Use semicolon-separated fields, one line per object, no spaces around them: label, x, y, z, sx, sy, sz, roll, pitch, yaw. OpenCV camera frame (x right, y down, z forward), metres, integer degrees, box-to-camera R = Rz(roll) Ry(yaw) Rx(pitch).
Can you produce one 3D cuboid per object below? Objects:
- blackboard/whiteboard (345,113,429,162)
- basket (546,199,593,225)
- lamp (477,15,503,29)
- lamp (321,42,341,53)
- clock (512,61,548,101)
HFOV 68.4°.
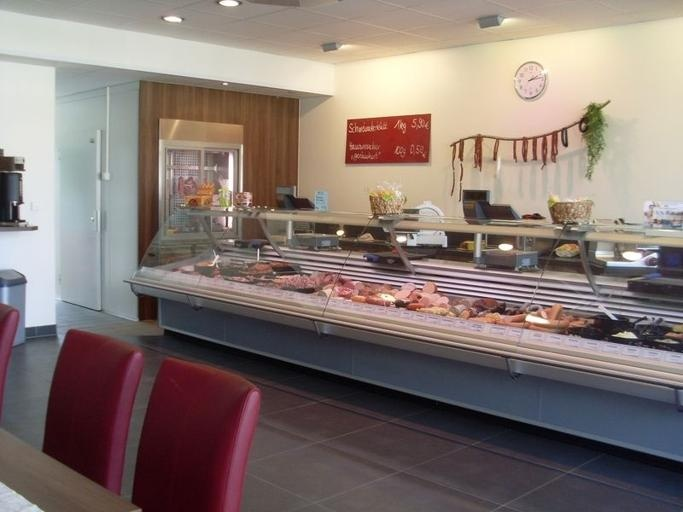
blackboard/whiteboard;0.621;-1.584;6.947;0.021;0.630;1.520;-9;15;-40
basket;1.509;-0.280;3.320;0.250;0.097;0.225;1;2;30
lamp;1.525;-2.363;5.100;0.215;0.064;0.137;7;11;36
lamp;-0.131;-2.570;6.287;0.179;0.043;0.108;3;-5;28
clock;2.148;-1.977;5.685;0.521;0.484;0.085;15;12;40
